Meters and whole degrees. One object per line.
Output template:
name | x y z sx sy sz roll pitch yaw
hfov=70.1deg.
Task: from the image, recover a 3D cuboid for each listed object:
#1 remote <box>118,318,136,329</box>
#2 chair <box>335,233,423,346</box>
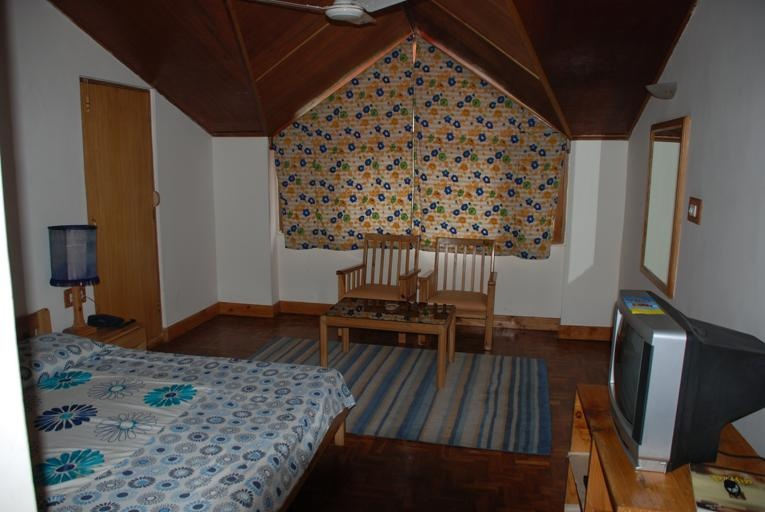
remote | -2.372 0.628 5.073 0.116 0.032 0.108 0 11 -18
chair | -0.051 0.332 6.368 1.123 1.644 1.114 2 4 18
